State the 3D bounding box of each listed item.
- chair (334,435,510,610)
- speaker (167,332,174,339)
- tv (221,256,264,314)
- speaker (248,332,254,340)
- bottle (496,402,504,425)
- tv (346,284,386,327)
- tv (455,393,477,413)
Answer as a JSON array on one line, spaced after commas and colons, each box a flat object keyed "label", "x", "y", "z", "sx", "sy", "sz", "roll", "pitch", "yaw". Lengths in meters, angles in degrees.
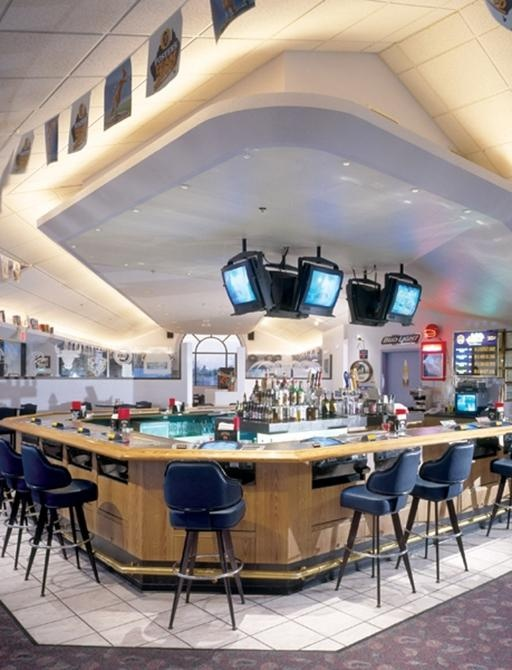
[{"label": "chair", "x": 1.222, "y": 1.453, "z": 3.958, "sx": 0.500, "sy": 1.039, "sz": 1.102, "roll": -3, "pitch": -8, "yaw": 42}, {"label": "speaker", "x": -4.044, "y": 0.025, "z": 24.274, "sx": 0.298, "sy": 0.302, "sz": 0.145, "roll": 3, "pitch": -7, "yaw": -21}, {"label": "tv", "x": -0.152, "y": -0.587, "z": 5.762, "sx": 0.371, "sy": 0.646, "sz": 0.565, "roll": -13, "pitch": -12, "yaw": -25}, {"label": "speaker", "x": -0.291, "y": 0.068, "z": 26.157, "sx": 0.407, "sy": 0.443, "sz": 0.169, "roll": 2, "pitch": -7, "yaw": -13}, {"label": "bottle", "x": 2.687, "y": 0.866, "z": 5.728, "sx": 0.075, "sy": 0.221, "sz": 0.459, "roll": -3, "pitch": -8, "yaw": 24}, {"label": "tv", "x": 1.433, "y": -0.444, "z": 6.787, "sx": 0.468, "sy": 0.600, "sz": 0.463, "roll": -1, "pitch": -7, "yaw": 13}, {"label": "tv", "x": 3.398, "y": 1.100, "z": 8.361, "sx": 0.184, "sy": 0.318, "sz": 0.331, "roll": 6, "pitch": -4, "yaw": -28}]
